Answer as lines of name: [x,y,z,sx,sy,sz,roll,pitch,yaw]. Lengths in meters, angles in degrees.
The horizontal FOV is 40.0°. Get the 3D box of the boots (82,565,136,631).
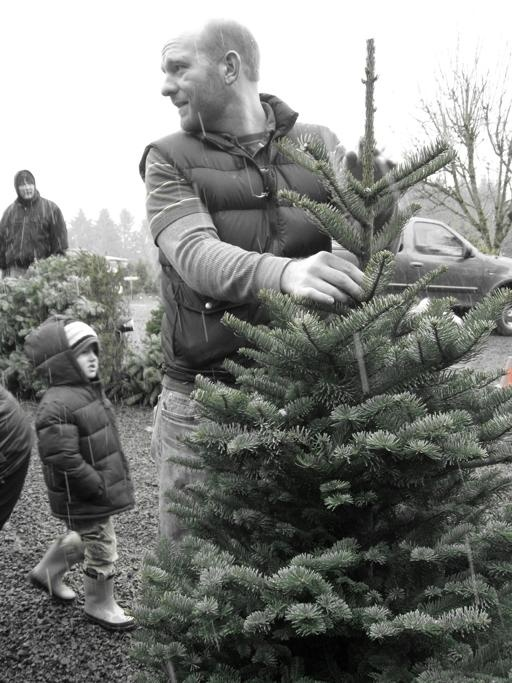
boots: [-0.700,1.215,3.330,0.262,0.244,0.129,13,12,20]

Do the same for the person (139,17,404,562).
person: [-0.039,-0.108,1.772,0.509,1.392,0.958,1,7,-10]

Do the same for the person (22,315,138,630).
person: [-0.829,0.624,3.333,0.477,1.418,0.523,0,8,-18]

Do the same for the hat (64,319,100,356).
hat: [-0.841,-0.027,3.425,0.125,0.147,0.164,-23,43,-32]
